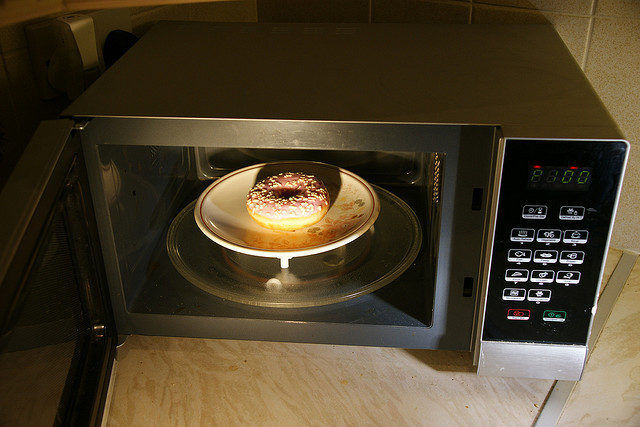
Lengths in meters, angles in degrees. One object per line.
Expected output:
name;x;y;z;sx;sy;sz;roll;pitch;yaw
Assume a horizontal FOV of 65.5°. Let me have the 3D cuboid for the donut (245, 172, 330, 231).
donut;-0.059;-0.003;0.822;0.113;0.041;0.115;-4;19;-17
